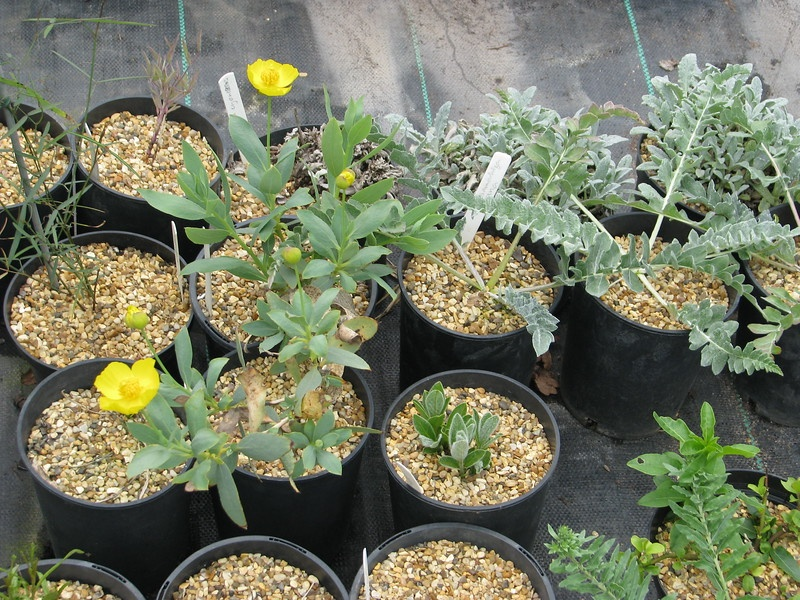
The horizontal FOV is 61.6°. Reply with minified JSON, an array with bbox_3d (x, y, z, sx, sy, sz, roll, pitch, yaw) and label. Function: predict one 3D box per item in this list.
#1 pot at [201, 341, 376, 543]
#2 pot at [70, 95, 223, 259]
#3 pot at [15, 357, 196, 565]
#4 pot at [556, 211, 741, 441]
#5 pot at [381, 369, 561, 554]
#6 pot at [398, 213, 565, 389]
[{"bbox_3d":[-0.299,0.407,2.031,0.451,0.528,0.546,10,42,2],"label":"pot"},{"bbox_3d":[-0.866,-0.352,2.590,0.541,0.622,0.633,1,60,-14],"label":"pot"},{"bbox_3d":[-0.814,0.524,1.990,0.507,0.410,0.547,3,55,-5],"label":"pot"},{"bbox_3d":[0.787,0.165,2.286,0.428,0.512,0.465,2,35,-1],"label":"pot"},{"bbox_3d":[0.191,0.433,1.858,0.437,0.398,0.544,4,44,4],"label":"pot"},{"bbox_3d":[0.256,0.059,2.345,0.474,0.574,0.562,5,51,4],"label":"pot"}]
